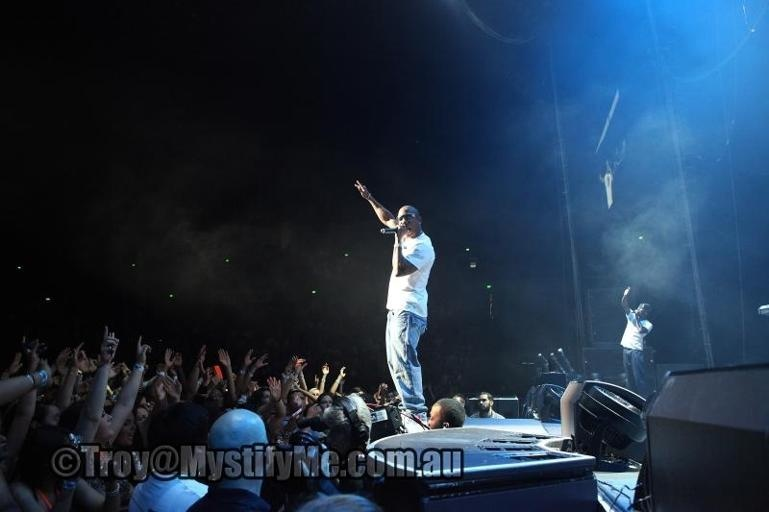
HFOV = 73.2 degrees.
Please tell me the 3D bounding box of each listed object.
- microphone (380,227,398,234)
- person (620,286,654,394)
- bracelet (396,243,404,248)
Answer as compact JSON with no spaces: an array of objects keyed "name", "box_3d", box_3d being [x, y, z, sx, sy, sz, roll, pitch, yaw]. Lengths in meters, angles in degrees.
[{"name":"microphone","box_3d":[0.075,-0.341,7.125,0.073,0.089,0.369,3,3,29]},{"name":"person","box_3d":[5.043,1.713,10.425,0.460,2.138,0.921,-2,-20,3]},{"name":"bracelet","box_3d":[0.200,-0.126,6.768,0.061,0.073,0.101,-3,11,-24]}]
